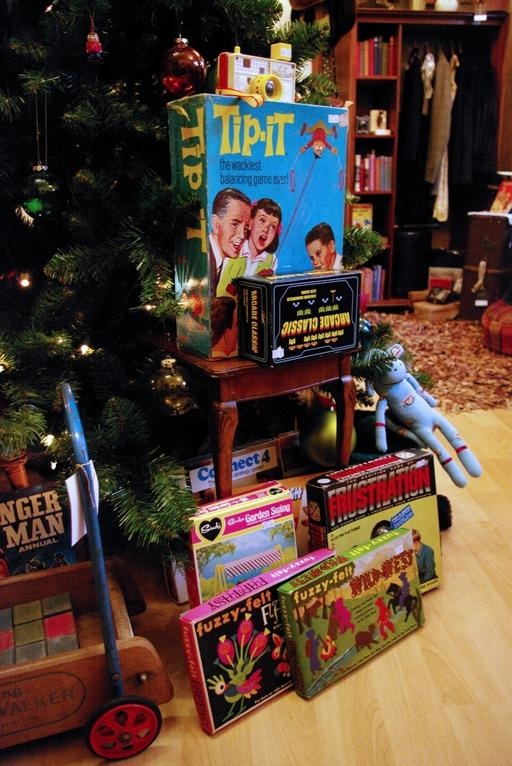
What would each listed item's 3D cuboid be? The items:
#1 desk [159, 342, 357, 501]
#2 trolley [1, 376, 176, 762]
[{"bbox_3d":[0.053,0.080,1.333,0.447,0.340,0.235,-9,14,-27],"label":"desk"},{"bbox_3d":[-0.296,0.273,0.936,0.245,0.581,0.344,-7,14,-23],"label":"trolley"}]
